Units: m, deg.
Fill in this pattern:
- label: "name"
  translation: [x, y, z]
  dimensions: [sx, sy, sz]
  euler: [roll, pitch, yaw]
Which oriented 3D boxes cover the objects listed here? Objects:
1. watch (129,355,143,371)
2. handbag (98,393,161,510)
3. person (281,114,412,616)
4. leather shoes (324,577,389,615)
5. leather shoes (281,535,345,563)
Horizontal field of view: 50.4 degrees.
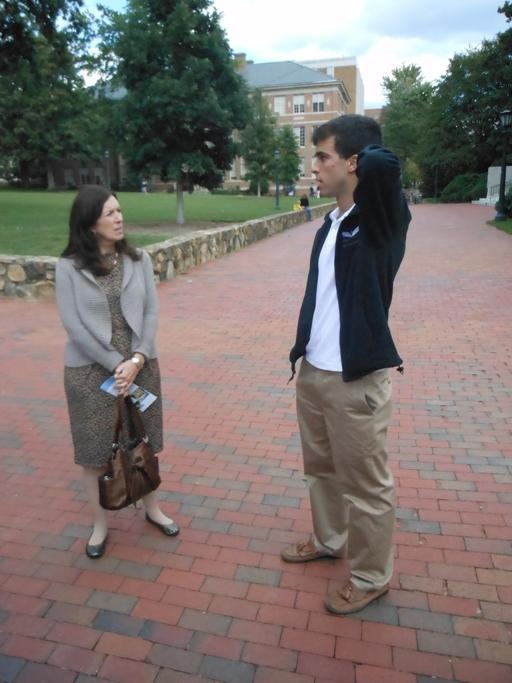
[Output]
- label: "watch"
  translation: [-0.579, 0.099, 2.631]
  dimensions: [0.060, 0.050, 0.056]
  euler: [-4, 4, -13]
- label: "handbag"
  translation: [-0.633, 0.505, 2.571]
  dimensions: [0.206, 0.497, 0.341]
  euler: [8, 18, 34]
- label: "person"
  translation: [0.364, 0.144, 2.179]
  dimensions: [0.444, 1.999, 0.610]
  euler: [-6, 16, -12]
- label: "leather shoes"
  translation: [0.448, 1.064, 2.319]
  dimensions: [0.303, 0.108, 0.101]
  euler: [-15, 20, -11]
- label: "leather shoes"
  translation: [0.306, 1.023, 2.690]
  dimensions: [0.351, 0.123, 0.109]
  euler: [1, 12, -5]
